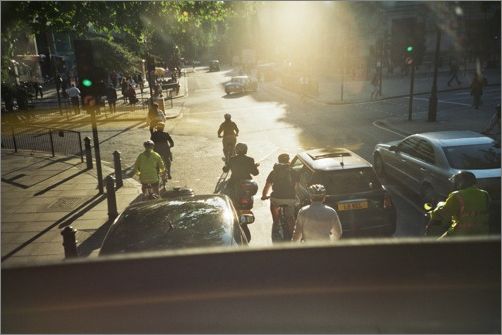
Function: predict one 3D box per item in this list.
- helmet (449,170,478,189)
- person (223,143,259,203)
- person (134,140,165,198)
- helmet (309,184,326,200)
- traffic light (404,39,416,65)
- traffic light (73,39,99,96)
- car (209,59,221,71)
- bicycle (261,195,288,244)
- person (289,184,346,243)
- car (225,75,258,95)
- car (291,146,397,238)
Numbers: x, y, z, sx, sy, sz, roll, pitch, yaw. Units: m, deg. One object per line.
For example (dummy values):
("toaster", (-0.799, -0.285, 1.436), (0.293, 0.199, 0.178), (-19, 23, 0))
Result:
("helmet", (3.072, 0.208, 6.280), (0.315, 0.322, 0.263), (4, 14, 24))
("person", (-0.222, 0.035, 9.418), (0.541, 0.783, 1.307), (0, 25, 2))
("person", (-2.433, 0.121, 10.319), (0.590, 1.576, 0.495), (-1, 14, -11))
("helmet", (1.025, 0.385, 6.711), (0.221, 0.236, 0.181), (-3, -11, -22))
("traffic light", (8.194, -5.905, 22.274), (0.508, 1.273, 0.479), (0, 12, 9))
("traffic light", (-3.898, -2.319, 10.243), (0.424, 1.334, 0.441), (-7, 13, -23))
("car", (-7.737, -21.287, 91.649), (1.444, 1.503, 2.764), (-3, 24, -1))
("bicycle", (0.462, 1.077, 8.837), (0.448, 0.604, 0.909), (-3, 27, 5))
("person", (1.021, 0.787, 6.815), (0.713, 1.171, 0.670), (2, 6, 16))
("car", (-0.898, -7.900, 42.637), (1.527, 1.338, 3.971), (2, 17, 14))
("car", (1.967, 0.913, 9.845), (1.710, 1.730, 3.548), (-9, -3, -1))
